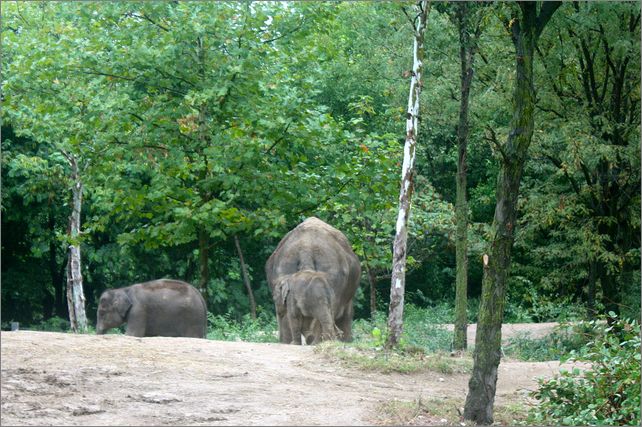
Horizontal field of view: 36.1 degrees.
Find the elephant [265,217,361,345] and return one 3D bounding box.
[{"bbox_3d":[-0.297,2.076,29.464,2.458,3.723,2.986,7,7,10],"label":"elephant"}]

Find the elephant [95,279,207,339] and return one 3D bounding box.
[{"bbox_3d":[-4.771,2.987,27.373,3.110,2.400,1.360,-1,6,-12],"label":"elephant"}]
